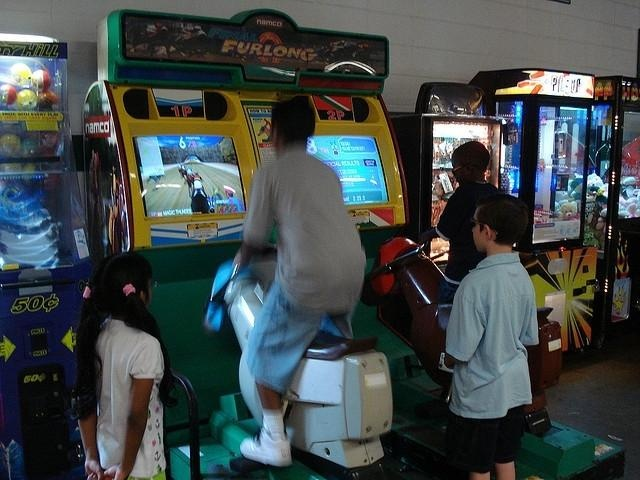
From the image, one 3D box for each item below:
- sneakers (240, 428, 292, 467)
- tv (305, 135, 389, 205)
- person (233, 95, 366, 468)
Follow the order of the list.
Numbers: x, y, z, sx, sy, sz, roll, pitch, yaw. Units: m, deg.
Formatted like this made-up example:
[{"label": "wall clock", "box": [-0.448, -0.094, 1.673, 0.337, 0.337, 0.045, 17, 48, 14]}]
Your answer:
[{"label": "sneakers", "box": [-0.270, 1.049, 2.687, 0.339, 0.181, 0.122, 8, 8, 44]}, {"label": "tv", "box": [0.175, -0.467, 3.372, 0.522, 0.459, 0.210, 3, -17, -35]}, {"label": "person", "box": [-0.119, 0.213, 2.592, 0.716, 1.841, 0.361, -6, 9, -13]}]
